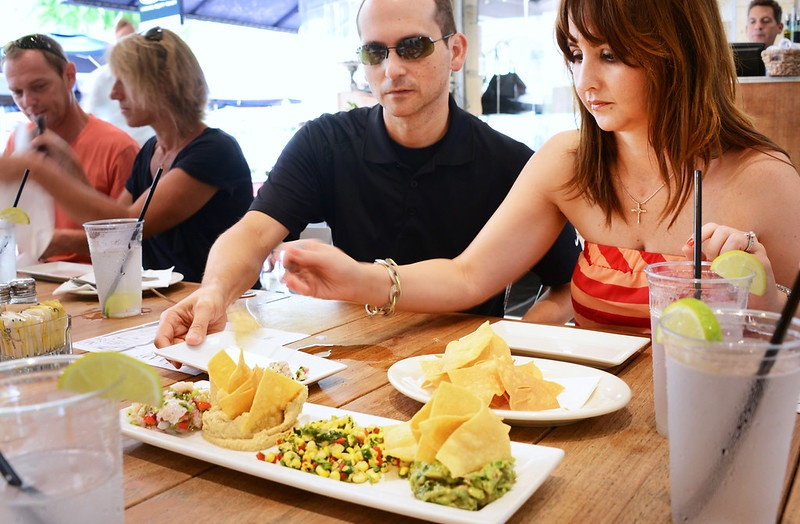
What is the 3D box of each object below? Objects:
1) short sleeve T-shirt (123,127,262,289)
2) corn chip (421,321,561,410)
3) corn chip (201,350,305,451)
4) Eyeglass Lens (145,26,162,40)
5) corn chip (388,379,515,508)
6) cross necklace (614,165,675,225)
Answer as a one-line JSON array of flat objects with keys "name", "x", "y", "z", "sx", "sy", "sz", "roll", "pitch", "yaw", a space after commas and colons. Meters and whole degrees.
[{"name": "short sleeve T-shirt", "x": -1.108, "y": -0.274, "z": 3.113, "sx": 0.710, "sy": 0.852, "sz": 0.459, "roll": 25, "pitch": 20, "yaw": 34}, {"name": "corn chip", "x": 0.211, "y": 0.216, "z": 1.363, "sx": 0.203, "sy": 0.088, "sz": 0.219, "roll": 0, "pitch": 22, "yaw": -27}, {"name": "corn chip", "x": -0.307, "y": 0.311, "z": 1.288, "sx": 0.224, "sy": 0.136, "sz": 0.156, "roll": -6, "pitch": 25, "yaw": -22}, {"name": "Eyeglass Lens", "x": -1.468, "y": -1.352, "z": 3.500, "sx": 0.111, "sy": 0.078, "sz": 0.036, "roll": -1, "pitch": -20, "yaw": -3}, {"name": "corn chip", "x": 0.097, "y": 0.337, "z": 1.102, "sx": 0.215, "sy": 0.099, "sz": 0.213, "roll": -34, "pitch": 57, "yaw": -18}, {"name": "cross necklace", "x": 0.901, "y": -0.246, "z": 2.153, "sx": 0.183, "sy": 0.294, "sz": 0.025, "roll": 12, "pitch": 8, "yaw": 36}]
